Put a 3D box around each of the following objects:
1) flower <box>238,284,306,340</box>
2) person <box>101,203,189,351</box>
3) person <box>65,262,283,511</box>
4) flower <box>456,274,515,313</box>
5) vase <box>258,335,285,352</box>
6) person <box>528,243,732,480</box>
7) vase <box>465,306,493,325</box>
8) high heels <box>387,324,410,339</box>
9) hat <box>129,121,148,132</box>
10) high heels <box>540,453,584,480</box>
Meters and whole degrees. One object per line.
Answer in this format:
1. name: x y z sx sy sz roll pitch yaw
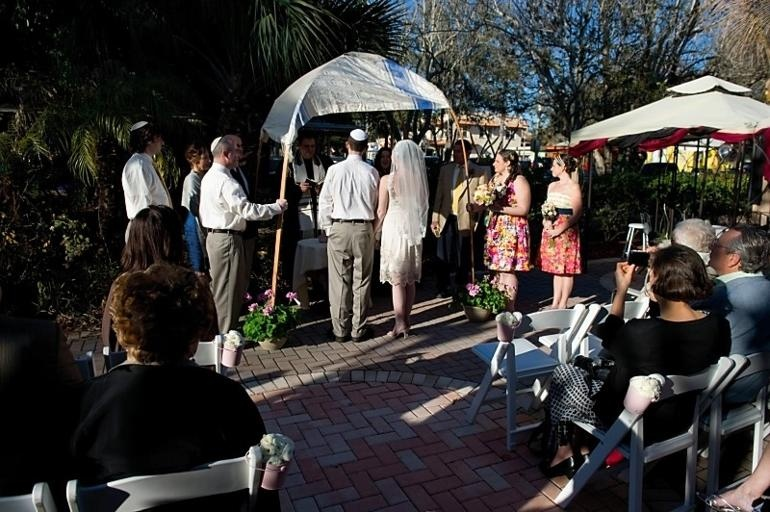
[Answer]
1. flower: -1.351 0.735 7.007 0.557 0.487 0.640 -6 8 -9
2. person: -2.017 0.159 5.252 0.589 1.362 0.509 -1 31 -9
3. person: -1.321 0.863 3.892 1.319 1.679 0.927 4 19 2
4. flower: 1.411 0.583 7.808 0.447 0.357 0.412 -12 12 -43
5. vase: -1.292 1.013 6.820 0.192 0.102 0.207 -2 6 -5
6. person: 1.876 0.987 4.806 0.760 2.260 1.347 3 13 -26
7. vase: 1.201 0.766 7.801 0.238 0.160 0.256 2 4 18
8. high heels: 0.172 0.926 7.255 0.315 0.200 0.119 3 6 2
9. hat: -2.586 -1.339 6.184 0.223 0.091 0.143 11 19 29
10. high heels: 1.395 1.698 4.797 0.403 0.145 0.181 -17 25 48
